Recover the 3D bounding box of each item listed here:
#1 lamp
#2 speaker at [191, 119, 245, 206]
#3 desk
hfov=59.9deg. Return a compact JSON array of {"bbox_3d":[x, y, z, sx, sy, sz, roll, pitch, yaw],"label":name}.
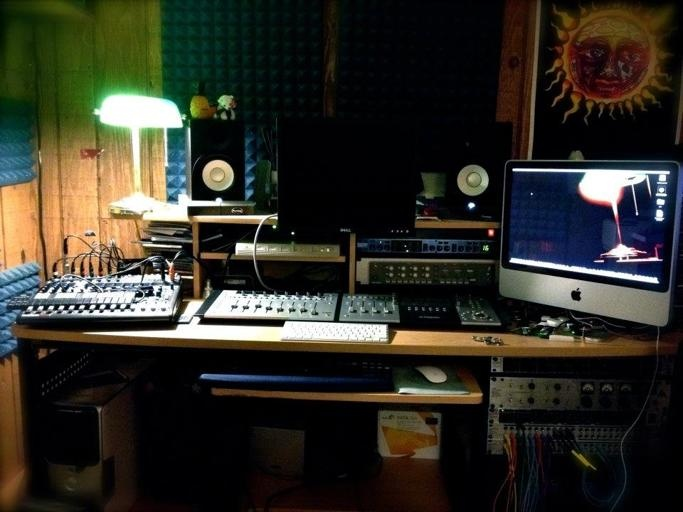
[{"bbox_3d":[-0.998,-0.511,2.956,0.421,0.613,0.431,-4,10,-21],"label":"lamp"},{"bbox_3d":[-0.580,-0.438,2.934,0.307,0.448,0.285,-2,-7,-6],"label":"speaker"},{"bbox_3d":[0.041,0.415,2.533,2.750,1.084,0.667,2,10,13],"label":"desk"}]
